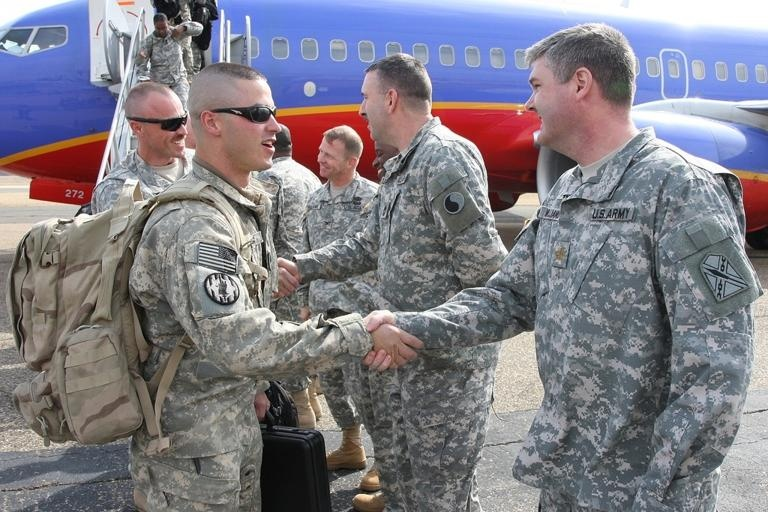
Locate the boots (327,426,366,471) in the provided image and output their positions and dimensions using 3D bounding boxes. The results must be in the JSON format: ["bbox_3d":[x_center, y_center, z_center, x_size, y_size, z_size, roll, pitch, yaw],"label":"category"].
[{"bbox_3d":[-0.306,1.354,5.639,0.353,0.313,0.152,-1,-10,-5],"label":"boots"}]
